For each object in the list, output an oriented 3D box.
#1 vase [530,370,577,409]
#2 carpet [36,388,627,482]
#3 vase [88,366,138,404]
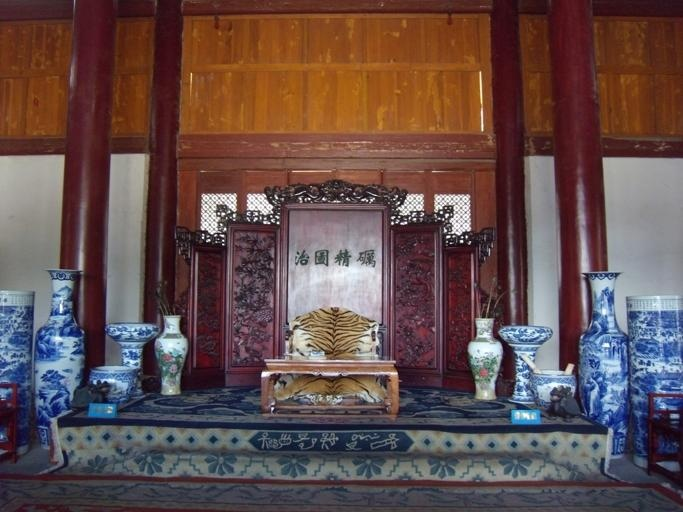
[{"bbox_3d":[1.714,1.087,5.376,0.306,0.211,0.302,0,-3,14],"label":"vase"},{"bbox_3d":[-0.223,1.456,5.052,2.673,0.284,1.375,1,-1,-1],"label":"carpet"},{"bbox_3d":[-1.947,1.073,5.550,0.337,0.230,0.329,0,-6,1],"label":"vase"}]
